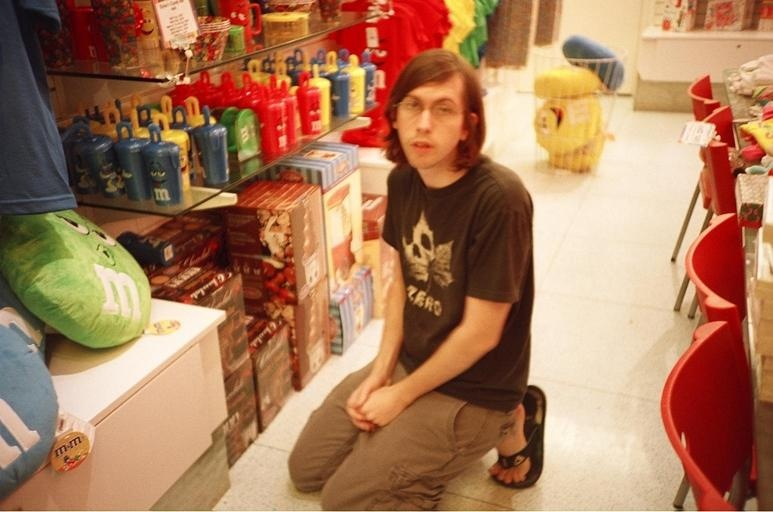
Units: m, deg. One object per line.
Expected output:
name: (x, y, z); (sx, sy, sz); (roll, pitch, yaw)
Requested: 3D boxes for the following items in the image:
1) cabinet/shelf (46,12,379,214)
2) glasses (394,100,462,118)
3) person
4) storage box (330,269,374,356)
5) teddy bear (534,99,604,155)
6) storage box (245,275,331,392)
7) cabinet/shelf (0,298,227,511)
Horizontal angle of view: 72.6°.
cabinet/shelf: (-0.738, -0.585, 2.179); (0.345, 0.305, 1.176); (11, 28, 22)
glasses: (0.137, -0.487, 1.751); (0.204, 0.049, 0.051); (3, 27, 11)
person: (0.087, 0.171, 1.880); (0.877, 1.639, 0.636); (-24, 34, -36)
storage box: (-0.206, 0.318, 2.933); (0.119, 0.254, 0.396); (8, 35, 17)
teddy bear: (1.690, -1.326, 5.009); (0.561, 0.515, 0.559); (-12, 37, 18)
storage box: (-0.499, 0.373, 2.550); (0.475, 0.452, 0.343); (4, 33, 13)
cabinet/shelf: (-0.906, 0.472, 1.704); (0.378, 0.561, 0.618); (9, 30, 12)
